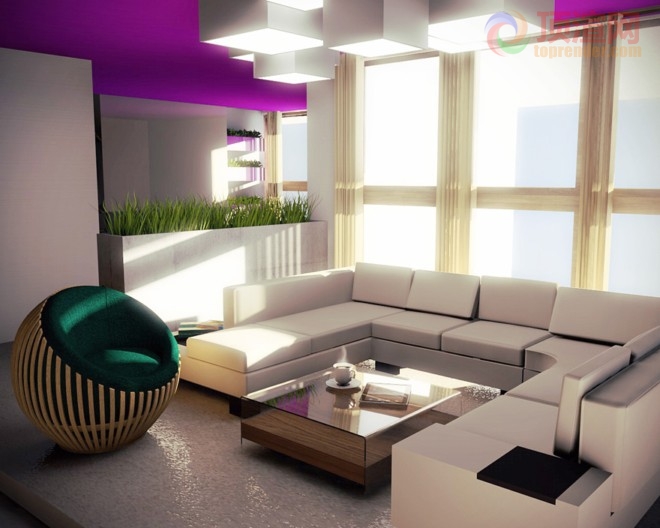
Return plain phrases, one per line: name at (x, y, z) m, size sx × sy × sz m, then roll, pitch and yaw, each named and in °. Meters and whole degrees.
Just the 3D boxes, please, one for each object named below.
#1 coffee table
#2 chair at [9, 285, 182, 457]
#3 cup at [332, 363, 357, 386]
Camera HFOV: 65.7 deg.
coffee table at (0.181, 0.906, 3.133) m, size 1.204 × 0.334 × 0.987 m, roll -11°, pitch 15°, yaw -42°
chair at (-1.362, 0.616, 3.178) m, size 0.961 × 0.964 × 1.099 m, roll 1°, pitch 8°, yaw 5°
cup at (0.084, 0.686, 3.205) m, size 0.136 × 0.110 × 0.114 m, roll 6°, pitch 7°, yaw 38°
